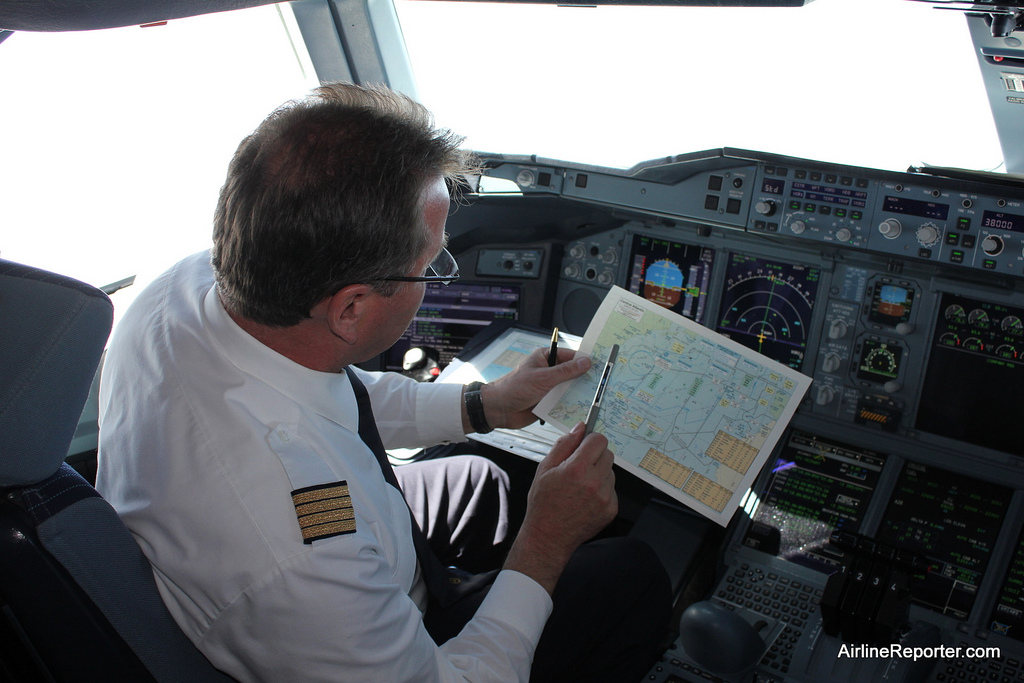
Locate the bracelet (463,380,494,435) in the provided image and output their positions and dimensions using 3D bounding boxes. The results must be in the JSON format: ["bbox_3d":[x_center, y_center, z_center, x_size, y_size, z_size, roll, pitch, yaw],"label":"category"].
[{"bbox_3d":[-0.109,0.197,1.998,0.091,0.137,0.134,-4,0,25],"label":"bracelet"}]
